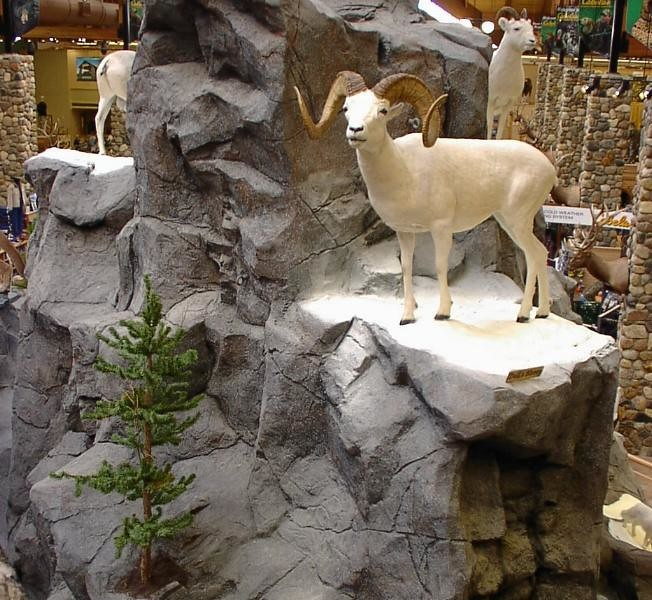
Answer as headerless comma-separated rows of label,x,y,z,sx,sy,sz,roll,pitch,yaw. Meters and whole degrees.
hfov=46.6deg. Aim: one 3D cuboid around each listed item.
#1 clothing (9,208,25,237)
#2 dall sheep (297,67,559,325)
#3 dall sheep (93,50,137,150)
clothing,-6.121,-1.543,15.015,0.280,0.620,0.191,-7,16,-36
dall sheep,0.863,-0.752,5.921,2.016,2.127,1.148,-3,20,-6
dall sheep,-2.700,-2.487,9.711,0.473,1.384,2.154,-1,17,-17
